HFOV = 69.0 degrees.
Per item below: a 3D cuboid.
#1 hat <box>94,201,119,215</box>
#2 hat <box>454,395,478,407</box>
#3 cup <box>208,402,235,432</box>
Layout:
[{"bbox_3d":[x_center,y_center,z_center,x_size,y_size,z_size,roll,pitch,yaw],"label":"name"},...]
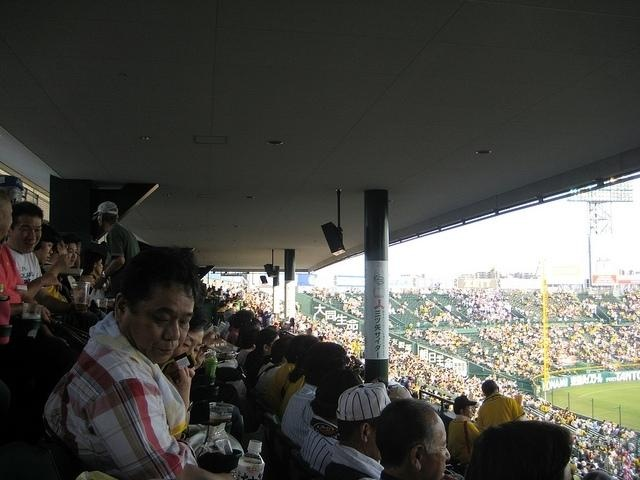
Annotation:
[{"bbox_3d":[-2.458,-0.356,5.399,0.270,0.200,0.383,-2,9,-28],"label":"hat"},{"bbox_3d":[1.617,1.793,5.162,0.203,0.110,0.132,-10,1,-5],"label":"hat"},{"bbox_3d":[-0.610,1.064,2.844,0.159,0.173,0.150,2,-2,0],"label":"cup"}]
